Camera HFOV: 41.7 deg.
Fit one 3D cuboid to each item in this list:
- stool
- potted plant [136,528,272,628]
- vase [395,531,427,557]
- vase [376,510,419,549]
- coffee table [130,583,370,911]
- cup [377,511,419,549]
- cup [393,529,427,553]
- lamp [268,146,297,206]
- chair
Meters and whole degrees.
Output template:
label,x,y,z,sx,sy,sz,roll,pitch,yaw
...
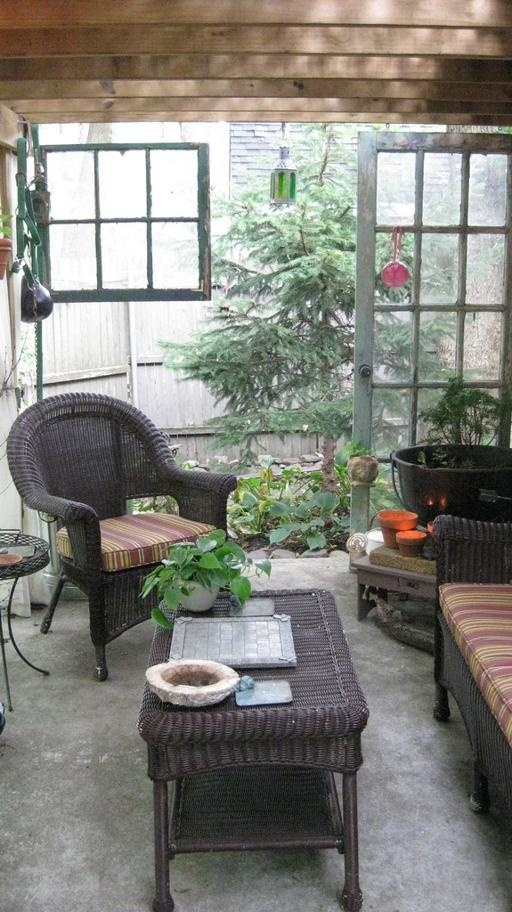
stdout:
label,x,y,z,sx,sy,sz,roll,pitch,yaw
stool,0.584,0.567,2.719,0.364,0.239,0.215,6,7,36
potted plant,-0.137,0.299,1.753,0.273,0.164,0.281,2,9,-26
vase,0.594,0.332,2.590,0.090,0.071,0.096,-1,2,0
vase,0.579,0.296,2.742,0.132,0.138,0.145,1,1,0
coffee table,0.015,0.603,1.402,0.280,0.303,0.579,-2,-2,1
cup,0.575,0.297,2.739,0.133,0.136,0.142,1,2,0
cup,0.597,0.343,2.602,0.114,0.085,0.117,-2,5,0
lamp,0.144,-1.567,3.761,0.121,0.289,0.246,-1,5,0
chair,-0.596,0.198,2.819,0.986,1.358,0.926,-8,12,-39
